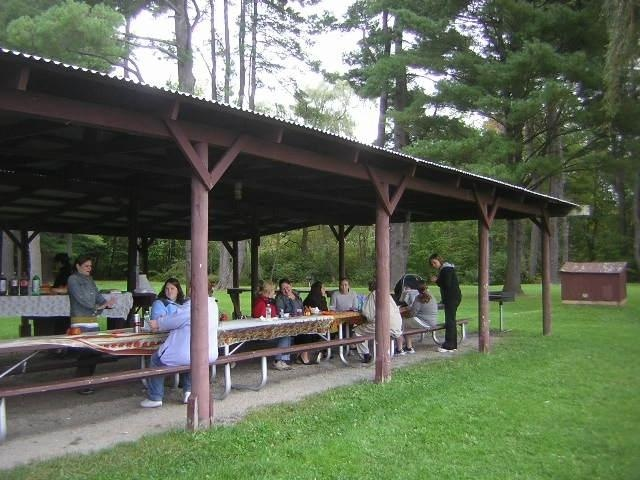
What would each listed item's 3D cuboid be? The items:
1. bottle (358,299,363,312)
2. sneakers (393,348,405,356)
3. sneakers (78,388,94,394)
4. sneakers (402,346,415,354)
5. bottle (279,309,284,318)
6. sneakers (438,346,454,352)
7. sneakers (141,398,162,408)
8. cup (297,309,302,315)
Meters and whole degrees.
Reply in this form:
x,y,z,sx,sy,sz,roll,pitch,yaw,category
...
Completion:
x,y,z,sx,sy,sz,roll,pitch,yaw,category
0.824,1.314,11.945,0.120,0.315,0.118,-2,-6,0,bottle
1.606,2.261,12.014,0.094,0.112,0.224,3,-1,-36,sneakers
-3.427,2.219,8.764,0.213,0.082,0.136,-3,-3,38,sneakers
1.832,2.238,12.220,0.119,0.131,0.263,0,0,-44,sneakers
-0.634,1.240,10.124,0.084,0.126,0.088,-1,-3,0,bottle
2.631,2.287,12.374,0.316,0.161,0.127,7,-6,2,sneakers
-2.290,2.212,8.156,0.277,0.132,0.117,2,-6,8,sneakers
-0.348,1.291,10.728,0.089,0.095,0.063,5,-7,-43,cup
